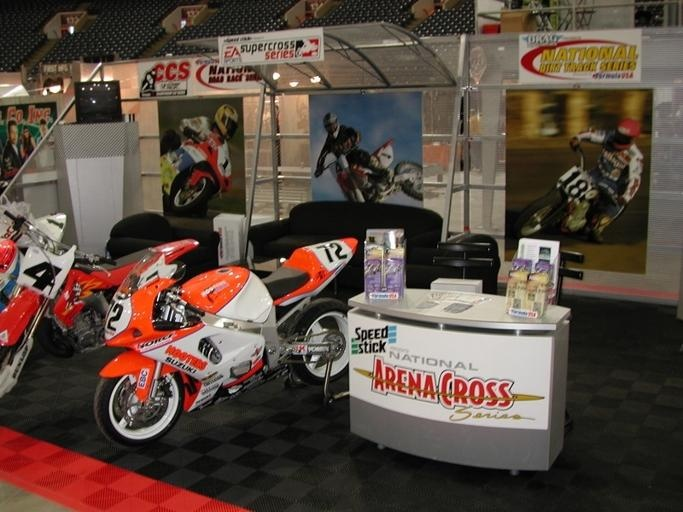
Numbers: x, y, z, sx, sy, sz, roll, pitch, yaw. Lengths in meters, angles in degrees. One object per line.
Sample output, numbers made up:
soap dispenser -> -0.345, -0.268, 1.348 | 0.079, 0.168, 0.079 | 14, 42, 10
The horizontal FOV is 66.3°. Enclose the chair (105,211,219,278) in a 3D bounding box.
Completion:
chair -> -2.348, -0.093, 6.964 | 1.436, 0.918, 1.400 | -4, 14, -3

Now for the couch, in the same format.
couch -> -0.049, 0.054, 7.231 | 3.001, 1.312, 1.230 | -6, 1, 22

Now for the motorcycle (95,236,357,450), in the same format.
motorcycle -> -0.687, 0.527, 3.661 | 2.061, 1.105, 0.608 | -10, 13, -41

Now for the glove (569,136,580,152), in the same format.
glove -> 2.738, -1.320, 6.152 | 0.106, 0.144, 0.045 | 5, 4, 33

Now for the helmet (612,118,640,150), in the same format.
helmet -> 3.198, -1.366, 5.886 | 0.317, 0.307, 0.239 | -26, 44, -25

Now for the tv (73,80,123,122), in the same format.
tv -> -3.604, -2.290, 7.766 | 0.690, 0.627, 0.364 | -7, 14, -37
